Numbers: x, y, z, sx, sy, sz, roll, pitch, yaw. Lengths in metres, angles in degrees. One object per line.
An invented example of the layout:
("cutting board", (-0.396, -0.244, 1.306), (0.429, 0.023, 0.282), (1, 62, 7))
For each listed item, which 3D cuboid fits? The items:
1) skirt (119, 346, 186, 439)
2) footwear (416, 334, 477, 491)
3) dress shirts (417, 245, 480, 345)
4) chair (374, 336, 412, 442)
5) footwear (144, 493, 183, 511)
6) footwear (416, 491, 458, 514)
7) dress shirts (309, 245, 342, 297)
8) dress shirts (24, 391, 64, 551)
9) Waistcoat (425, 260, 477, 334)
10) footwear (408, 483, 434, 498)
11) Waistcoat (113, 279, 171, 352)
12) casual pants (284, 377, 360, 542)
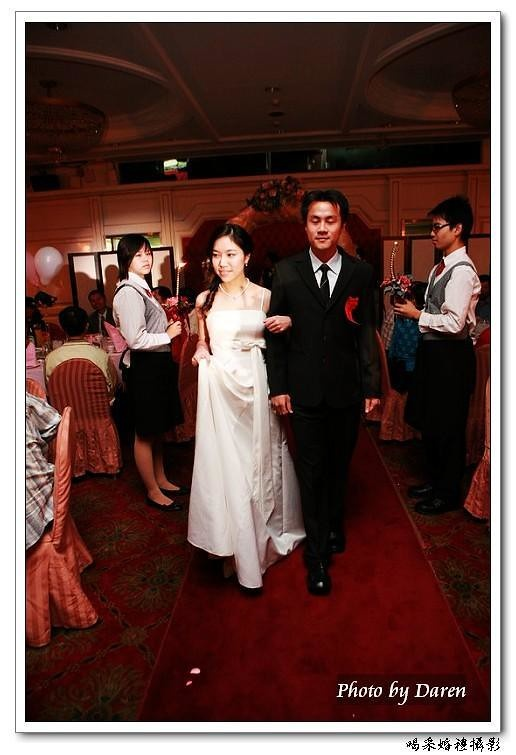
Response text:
("skirt", (-0.524, 0.060, 2.499), (0.236, 0.408, 0.198), (-4, 7, -25))
("footwear", (0.900, 0.157, 2.423), (0.244, 0.843, 0.273), (-1, 11, 6))
("dress shirts", (0.849, -0.393, 2.350), (0.285, 0.471, 0.479), (1, 15, 12))
("chair", (0.984, 0.075, 3.398), (0.272, 0.749, 0.373), (1, -23, 13))
("footwear", (-0.503, 0.659, 2.596), (0.184, 0.055, 0.077), (-1, 4, 19))
("footwear", (0.870, 0.616, 2.448), (0.204, 0.083, 0.087), (0, 1, -9))
("dress shirts", (0.229, -0.362, 1.703), (0.110, 0.150, 0.042), (1, 12, 11))
("dress shirts", (-0.734, 0.303, 1.685), (0.128, 0.470, 0.322), (-6, 13, -18))
("Waistcoat", (0.824, -0.373, 2.211), (0.098, 0.191, 0.139), (13, 41, 27))
("footwear", (0.851, 0.604, 2.607), (0.109, 0.036, 0.069), (-8, 8, -15))
("Waistcoat", (-0.560, -0.307, 2.439), (0.229, 0.366, 0.465), (-10, 17, -3))
("casual pants", (0.256, 0.298, 1.866), (0.276, 0.624, 0.185), (-5, 10, -8))
